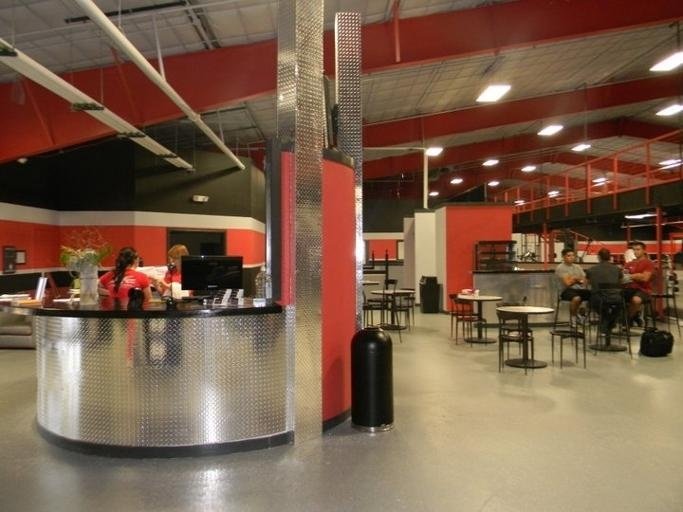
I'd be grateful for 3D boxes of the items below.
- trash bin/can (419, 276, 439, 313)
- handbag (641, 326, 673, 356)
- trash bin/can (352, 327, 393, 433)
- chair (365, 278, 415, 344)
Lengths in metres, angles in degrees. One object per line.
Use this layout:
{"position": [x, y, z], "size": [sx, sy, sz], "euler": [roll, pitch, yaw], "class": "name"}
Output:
{"position": [2.183, 0.960, 13.834], "size": [0.467, 0.860, 0.463], "euler": [0, 10, 2], "class": "trash bin/can"}
{"position": [5.048, 1.398, 9.011], "size": [0.556, 0.430, 0.377], "euler": [3, -5, -17], "class": "handbag"}
{"position": [0.342, 1.360, 6.244], "size": [0.461, 1.065, 0.375], "euler": [0, 11, 1], "class": "trash bin/can"}
{"position": [1.070, 1.144, 11.773], "size": [1.211, 0.717, 1.070], "euler": [0, -2, -1], "class": "chair"}
